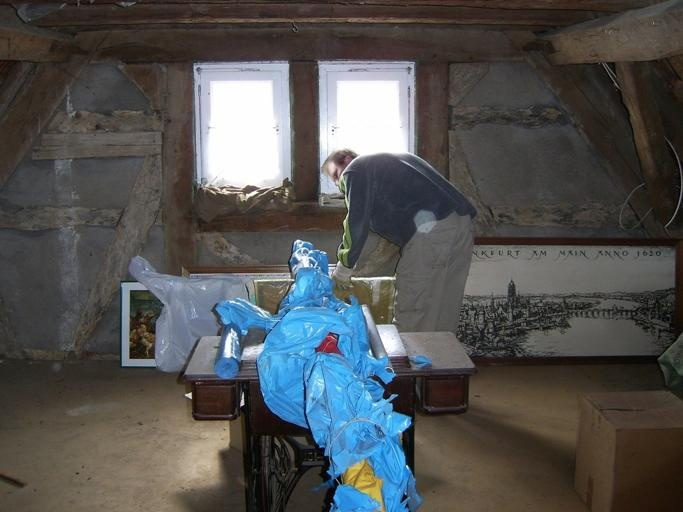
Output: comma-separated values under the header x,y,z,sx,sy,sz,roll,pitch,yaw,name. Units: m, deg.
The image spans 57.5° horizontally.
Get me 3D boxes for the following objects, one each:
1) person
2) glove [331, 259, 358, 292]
x,y,z,sx,sy,sz,roll,pitch,yaw,name
0.445,-0.070,4.944,1.037,1.712,0.697,1,22,23,person
0.012,0.151,4.591,0.159,0.220,0.493,2,7,1,glove
